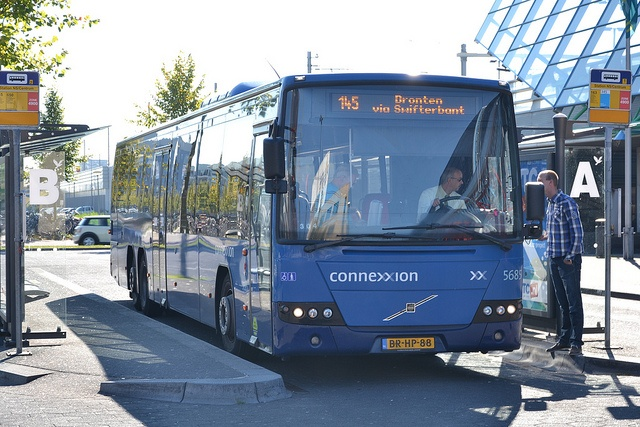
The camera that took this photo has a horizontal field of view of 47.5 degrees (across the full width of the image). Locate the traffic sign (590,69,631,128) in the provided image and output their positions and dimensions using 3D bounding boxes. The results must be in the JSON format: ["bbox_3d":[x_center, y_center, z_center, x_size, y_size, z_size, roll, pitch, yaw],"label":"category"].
[{"bbox_3d":[4.457,-1.766,11.147,0.788,1.108,0.120,3,-2,-15],"label":"traffic sign"}]

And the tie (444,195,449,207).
[{"bbox_3d":[1.693,-0.167,9.689,0.093,0.125,0.017,-1,2,-24],"label":"tie"}]

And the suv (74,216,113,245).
[{"bbox_3d":[-12.981,1.015,41.468,2.411,1.343,1.483,-2,3,-15],"label":"suv"}]
